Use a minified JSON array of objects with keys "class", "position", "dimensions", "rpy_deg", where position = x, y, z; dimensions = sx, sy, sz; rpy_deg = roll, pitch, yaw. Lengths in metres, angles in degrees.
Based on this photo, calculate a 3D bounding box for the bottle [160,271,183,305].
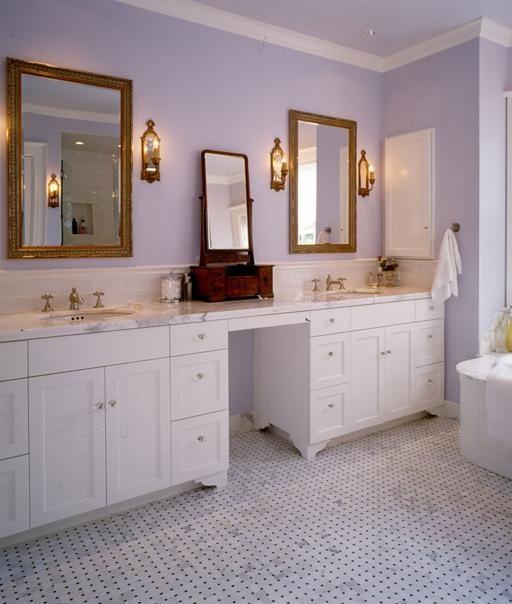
[{"class":"bottle","position":[-0.453,-0.070,2.763],"dimensions":[0.144,0.200,0.152],"rpy_deg":[0,0,0]}]

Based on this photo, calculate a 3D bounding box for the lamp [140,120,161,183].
[{"class":"lamp","position":[-0.585,-0.849,2.756],"dimensions":[0.111,0.349,0.050],"rpy_deg":[-3,5,-29]}]

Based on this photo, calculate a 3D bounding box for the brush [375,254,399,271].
[{"class":"brush","position":[1.022,-0.316,3.848],"dimensions":[0.128,0.124,0.105],"rpy_deg":[-1,5,-6]}]

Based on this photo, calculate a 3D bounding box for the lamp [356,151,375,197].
[{"class":"lamp","position":[0.877,-0.996,3.825],"dimensions":[0.215,0.363,0.063],"rpy_deg":[-5,6,-43]}]

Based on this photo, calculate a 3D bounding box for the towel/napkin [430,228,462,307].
[{"class":"towel/napkin","position":[1.307,-0.237,3.358],"dimensions":[0.161,0.540,0.224],"rpy_deg":[3,6,40]}]

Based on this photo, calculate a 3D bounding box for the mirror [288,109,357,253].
[{"class":"mirror","position":[0.489,-0.853,3.553],"dimensions":[0.648,0.986,0.036],"rpy_deg":[-4,5,-36]}]

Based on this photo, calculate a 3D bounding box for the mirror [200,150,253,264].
[{"class":"mirror","position":[-0.174,-0.578,3.017],"dimensions":[0.365,0.694,0.079],"rpy_deg":[-4,5,-39]}]

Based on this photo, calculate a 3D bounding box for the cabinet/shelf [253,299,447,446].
[{"class":"cabinet/shelf","position":[0.602,0.271,3.172],"dimensions":[1.448,1.060,0.749],"rpy_deg":[-5,5,-35]}]

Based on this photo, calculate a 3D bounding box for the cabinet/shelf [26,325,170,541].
[{"class":"cabinet/shelf","position":[-0.682,0.522,2.416],"dimensions":[0.697,1.036,0.625],"rpy_deg":[-2,1,-39]}]

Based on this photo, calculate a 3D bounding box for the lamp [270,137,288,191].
[{"class":"lamp","position":[0.169,-0.928,3.315],"dimensions":[0.151,0.358,0.056],"rpy_deg":[-5,6,-44]}]

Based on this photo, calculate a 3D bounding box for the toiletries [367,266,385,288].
[{"class":"toiletries","position":[0.939,-0.195,3.850],"dimensions":[0.132,0.220,0.158],"rpy_deg":[0,0,30]}]

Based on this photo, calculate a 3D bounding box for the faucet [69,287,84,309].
[{"class":"faucet","position":[-0.916,-0.019,2.522],"dimensions":[0.073,0.111,0.143],"rpy_deg":[-2,5,-20]}]
